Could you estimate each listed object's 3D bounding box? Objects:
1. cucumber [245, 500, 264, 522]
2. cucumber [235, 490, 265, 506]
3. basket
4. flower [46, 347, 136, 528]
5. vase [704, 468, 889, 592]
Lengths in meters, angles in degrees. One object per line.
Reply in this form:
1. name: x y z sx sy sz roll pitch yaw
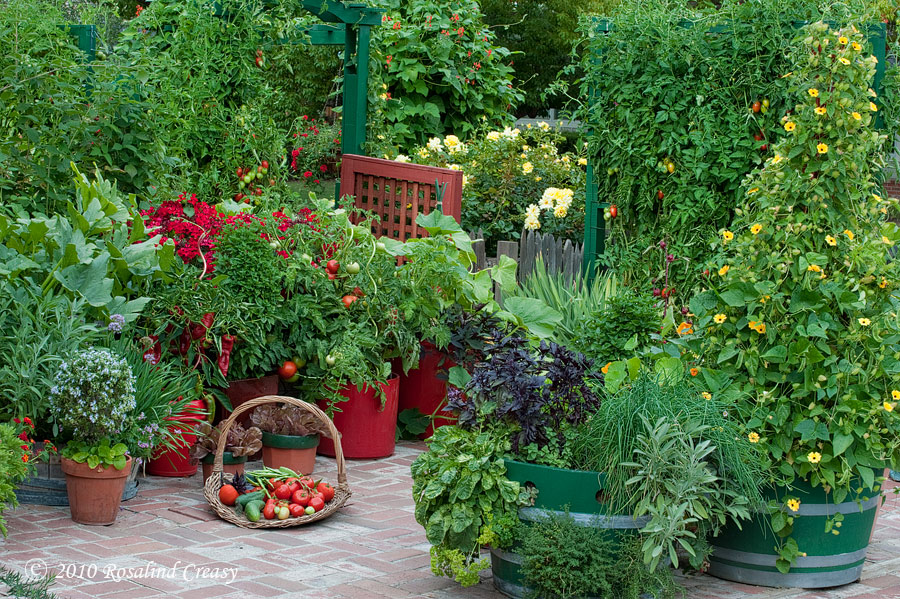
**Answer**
1. cucumber: -1.184 1.289 5.139 0.099 0.103 0.111 0 10 -13
2. cucumber: -1.221 1.225 5.180 0.141 0.078 0.063 -10 -29 -14
3. basket: -1.069 1.005 5.447 0.899 0.781 0.779 5 6 -2
4. flower: -2.072 0.825 5.125 0.485 1.087 0.544 3 -3 -11
5. vase: 1.877 1.316 4.853 0.828 0.632 0.856 -3 1 -26
